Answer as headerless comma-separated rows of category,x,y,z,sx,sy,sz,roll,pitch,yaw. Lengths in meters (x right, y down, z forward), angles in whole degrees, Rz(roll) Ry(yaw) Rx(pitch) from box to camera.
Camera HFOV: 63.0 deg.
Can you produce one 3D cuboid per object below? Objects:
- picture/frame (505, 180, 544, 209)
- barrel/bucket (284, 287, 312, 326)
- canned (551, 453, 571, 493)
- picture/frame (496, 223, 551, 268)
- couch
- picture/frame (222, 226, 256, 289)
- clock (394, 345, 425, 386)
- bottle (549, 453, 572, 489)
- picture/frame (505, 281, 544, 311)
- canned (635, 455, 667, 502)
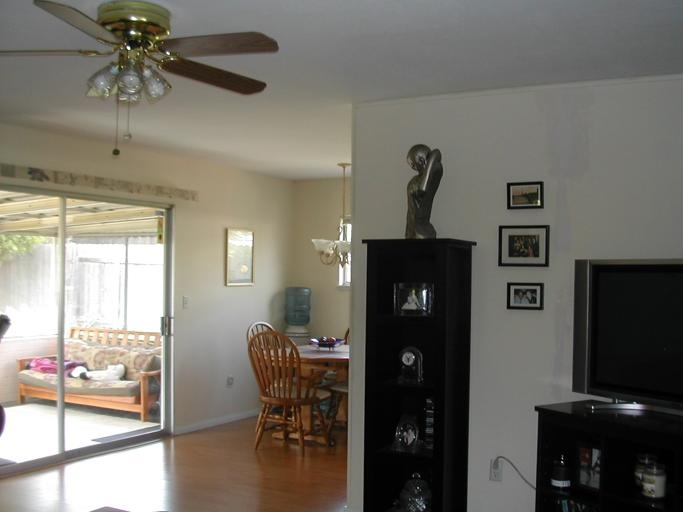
picture/frame,1.238,-0.423,3.737,0.184,0.165,0.015,1,2,24
barrel/bucket,-0.531,0.619,7.090,0.416,0.630,0.413,0,-5,0
canned,1.273,1.256,3.258,0.131,0.223,0.139,-1,-8,19
picture/frame,1.235,-0.084,3.734,0.278,0.254,0.020,0,1,25
couch,-2.448,1.107,5.567,1.488,0.779,0.721,2,-7,19
picture/frame,-1.214,-0.012,6.572,0.037,0.659,0.481,1,2,32
clock,0.464,0.700,3.734,0.189,0.226,0.187,2,4,37
bottle,1.278,1.241,3.263,0.129,0.219,0.135,1,-8,0
picture/frame,1.234,0.249,3.726,0.189,0.168,0.016,0,-3,21
canned,1.666,1.168,3.006,0.190,0.196,0.144,1,1,29
